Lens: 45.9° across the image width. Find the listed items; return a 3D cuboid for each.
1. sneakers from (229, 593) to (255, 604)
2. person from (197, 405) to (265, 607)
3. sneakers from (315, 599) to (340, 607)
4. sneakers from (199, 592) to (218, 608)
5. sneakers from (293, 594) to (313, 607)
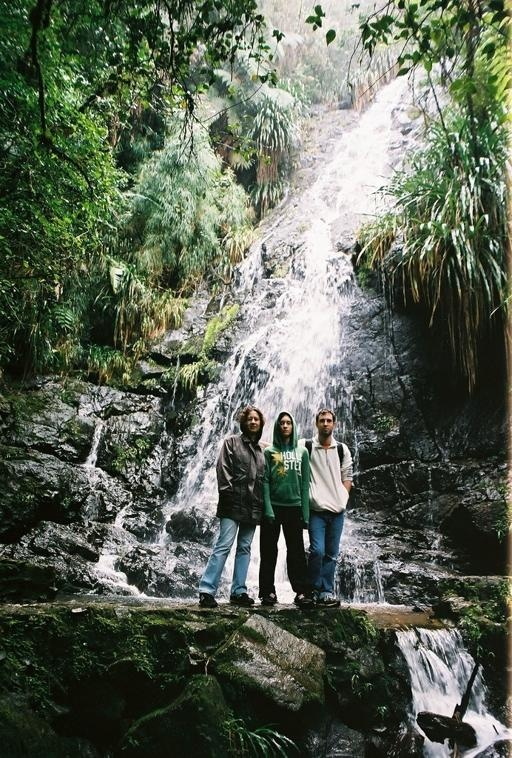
[{"bbox_3d":[-0.116,1.773,4.905,0.179,0.100,0.086,1,-9,12],"label":"sneakers"},{"bbox_3d":[-0.183,1.003,4.948,0.492,1.627,0.366,6,-13,-16],"label":"person"},{"bbox_3d":[0.576,1.768,4.842,0.186,0.107,0.077,-2,-7,7],"label":"sneakers"},{"bbox_3d":[-0.370,1.725,4.697,0.069,0.094,0.186,8,-24,-22],"label":"sneakers"},{"bbox_3d":[0.380,1.753,4.800,0.065,0.073,0.159,3,-25,-14],"label":"sneakers"}]
